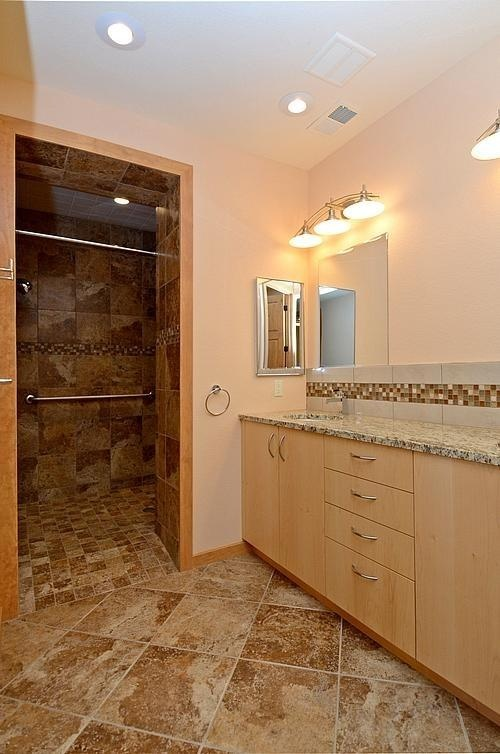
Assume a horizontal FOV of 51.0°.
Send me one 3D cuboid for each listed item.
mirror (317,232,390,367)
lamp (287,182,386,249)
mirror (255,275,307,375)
[{"bbox_3d":[0.575,-0.421,2.813,0.032,0.865,0.727,-1,1,-18],"label":"mirror"},{"bbox_3d":[0.434,-0.854,2.784,0.328,0.262,0.770,-3,6,-25],"label":"lamp"},{"bbox_3d":[0.181,-0.290,3.080,0.393,0.559,0.058,-5,7,-43],"label":"mirror"}]
